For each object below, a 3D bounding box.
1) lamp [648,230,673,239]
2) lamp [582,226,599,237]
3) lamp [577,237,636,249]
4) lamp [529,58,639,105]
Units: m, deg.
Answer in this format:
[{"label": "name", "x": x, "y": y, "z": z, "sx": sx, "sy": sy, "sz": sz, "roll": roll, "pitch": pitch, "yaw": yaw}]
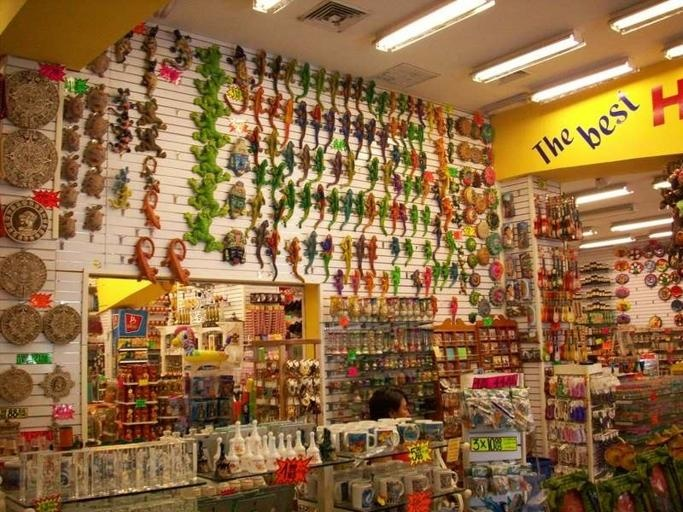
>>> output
[{"label": "lamp", "x": 9.097, "y": -0.635, "z": 15.080, "sx": 0.459, "sy": 0.117, "sz": 0.507, "roll": -4, "pitch": -9, "yaw": 27}, {"label": "lamp", "x": 6.919, "y": -0.701, "z": 14.748, "sx": 0.459, "sy": 0.113, "sz": 0.505, "roll": -4, "pitch": -7, "yaw": 43}, {"label": "lamp", "x": 8.231, "y": -0.407, "z": 16.343, "sx": 0.323, "sy": 0.185, "sz": 1.743, "roll": -21, "pitch": 2, "yaw": -39}, {"label": "lamp", "x": 3.490, "y": -2.600, "z": 7.807, "sx": 0.431, "sy": 0.184, "sz": 2.062, "roll": 11, "pitch": 2, "yaw": -15}]
